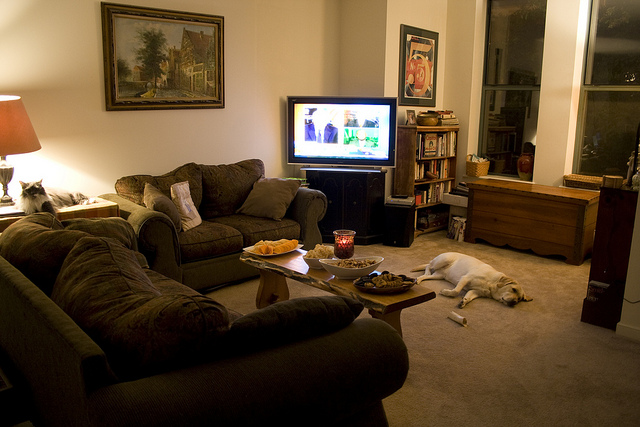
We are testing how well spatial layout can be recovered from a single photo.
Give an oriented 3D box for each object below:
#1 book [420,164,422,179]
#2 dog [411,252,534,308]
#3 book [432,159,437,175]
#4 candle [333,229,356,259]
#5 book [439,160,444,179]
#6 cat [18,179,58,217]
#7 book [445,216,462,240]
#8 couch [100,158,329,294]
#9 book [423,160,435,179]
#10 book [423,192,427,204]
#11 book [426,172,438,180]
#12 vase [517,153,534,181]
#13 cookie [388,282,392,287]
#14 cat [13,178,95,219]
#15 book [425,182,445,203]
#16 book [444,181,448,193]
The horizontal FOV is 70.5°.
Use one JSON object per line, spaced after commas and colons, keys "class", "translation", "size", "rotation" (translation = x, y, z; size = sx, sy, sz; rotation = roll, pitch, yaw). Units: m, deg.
{"class": "book", "translation": [1.409, -0.586, 6.323], "size": [0.060, 0.191, 0.022], "rotation": [-14, 19, -42]}
{"class": "dog", "translation": [1.469, 0.575, 4.509], "size": [1.027, 0.369, 0.603], "rotation": [21, 8, 31]}
{"class": "book", "translation": [1.630, -0.672, 6.461], "size": [0.103, 0.186, 0.195], "rotation": [2, 6, 14]}
{"class": "candle", "translation": [0.206, 0.253, 3.733], "size": [0.194, 0.246, 0.212], "rotation": [2, 2, -20]}
{"class": "book", "translation": [1.759, -0.640, 6.546], "size": [0.065, 0.261, 0.040], "rotation": [-8, 15, -23]}
{"class": "cat", "translation": [-2.522, -0.119, 4.012], "size": [0.286, 0.320, 0.434], "rotation": [-9, 7, -23]}
{"class": "book", "translation": [1.837, 0.205, 6.204], "size": [0.065, 0.253, 0.252], "rotation": [20, 17, 23]}
{"class": "couch", "translation": [-1.109, 0.108, 5.045], "size": [1.127, 1.253, 2.238], "rotation": [12, 15, 41]}
{"class": "book", "translation": [1.533, -0.632, 6.422], "size": [0.205, 0.264, 0.150], "rotation": [4, 20, 6]}
{"class": "book", "translation": [1.484, -0.222, 6.406], "size": [0.091, 0.156, 0.022], "rotation": [-15, 19, -42]}
{"class": "book", "translation": [1.583, -0.530, 6.441], "size": [0.104, 0.049, 0.119], "rotation": [11, 21, -9]}
{"class": "vase", "translation": [2.895, -0.654, 6.416], "size": [0.263, 0.382, 0.247], "rotation": [-2, -2, 17]}
{"class": "cookie", "translation": [0.483, 0.495, 3.145], "size": [0.006, 0.025, 0.025], "rotation": [-2, 6, 30]}
{"class": "cat", "translation": [-2.398, -0.134, 4.051], "size": [0.360, 0.200, 0.409], "rotation": [2, 7, 4]}
{"class": "book", "translation": [1.656, -0.296, 6.525], "size": [0.248, 0.330, 0.343], "rotation": [3, 8, 36]}
{"class": "book", "translation": [1.859, -0.382, 6.690], "size": [0.072, 0.149, 0.018], "rotation": [-9, 16, -27]}
